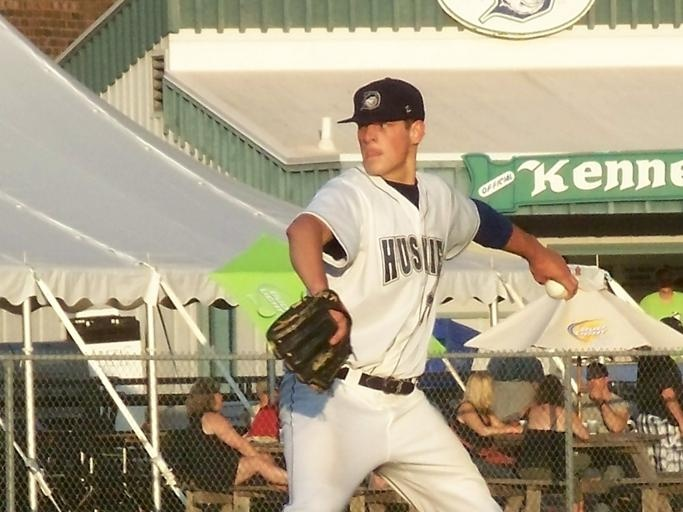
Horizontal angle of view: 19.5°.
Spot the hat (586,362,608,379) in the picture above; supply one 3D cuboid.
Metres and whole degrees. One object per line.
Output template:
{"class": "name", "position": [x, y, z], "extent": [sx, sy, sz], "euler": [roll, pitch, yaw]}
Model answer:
{"class": "hat", "position": [3.076, 1.371, 24.119], "extent": [0.188, 0.167, 0.206], "euler": [1, 4, 14]}
